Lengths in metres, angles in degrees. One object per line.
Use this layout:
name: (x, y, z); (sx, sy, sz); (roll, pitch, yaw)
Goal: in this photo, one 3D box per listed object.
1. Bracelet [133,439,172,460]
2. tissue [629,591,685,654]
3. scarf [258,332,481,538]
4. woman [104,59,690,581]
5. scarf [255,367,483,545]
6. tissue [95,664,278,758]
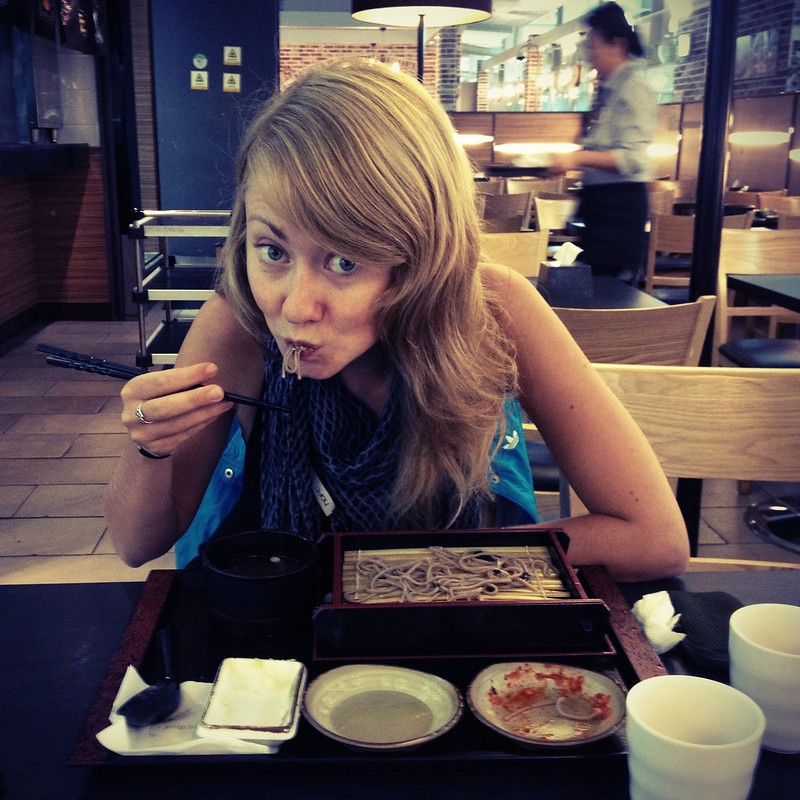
Bracelet: (-0.317, 0.065, 0.964); (0.033, 0.012, 0.035); (3, -12, 0)
tissue: (0.257, 0.233, 0.786); (0.040, 0.008, 0.082); (-14, 8, 17)
scarf: (-0.082, 0.042, 1.186); (0.344, 0.278, 0.097); (1, 3, 17)
woman: (-0.017, -0.066, 1.092); (0.795, 0.742, 0.508); (0, 19, 0)
scarf: (-0.098, 0.086, 1.151); (0.318, 0.252, 0.087); (1, -3, 10)
tissue: (-0.173, 0.247, 0.619); (0.079, 0.017, 0.070); (4, 12, -5)
